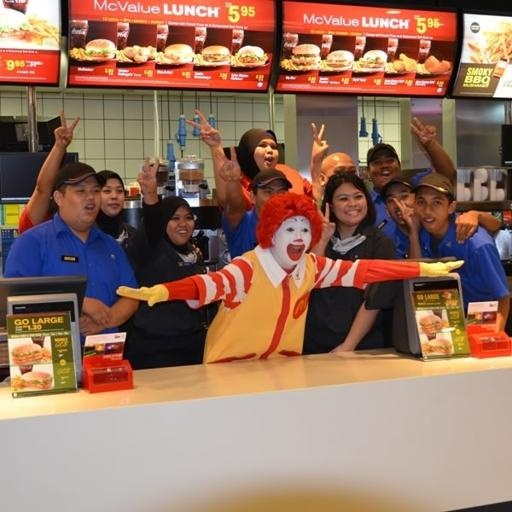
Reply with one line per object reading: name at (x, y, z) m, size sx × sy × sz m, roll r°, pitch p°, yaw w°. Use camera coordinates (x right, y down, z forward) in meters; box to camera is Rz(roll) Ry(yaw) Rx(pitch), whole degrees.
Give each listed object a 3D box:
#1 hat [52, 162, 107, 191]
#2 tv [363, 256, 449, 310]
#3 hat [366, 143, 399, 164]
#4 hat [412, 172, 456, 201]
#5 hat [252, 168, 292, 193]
hat at (-0.803, -0.358, 2.216) m, size 0.256 × 0.131 × 0.169 m, roll 4°, pitch 8°, yaw 41°
tv at (0.523, 0.120, 1.880) m, size 0.259 × 0.205 × 0.150 m, roll 1°, pitch 6°, yaw 21°
hat at (0.836, -0.684, 3.307) m, size 0.148 × 0.181 × 0.189 m, roll 0°, pitch 8°, yaw 3°
hat at (0.881, -0.349, 2.482) m, size 0.172 × 0.136 × 0.291 m, roll 2°, pitch 6°, yaw 24°
hat at (0.081, -0.397, 2.577) m, size 0.203 × 0.119 × 0.171 m, roll -1°, pitch 6°, yaw -2°
